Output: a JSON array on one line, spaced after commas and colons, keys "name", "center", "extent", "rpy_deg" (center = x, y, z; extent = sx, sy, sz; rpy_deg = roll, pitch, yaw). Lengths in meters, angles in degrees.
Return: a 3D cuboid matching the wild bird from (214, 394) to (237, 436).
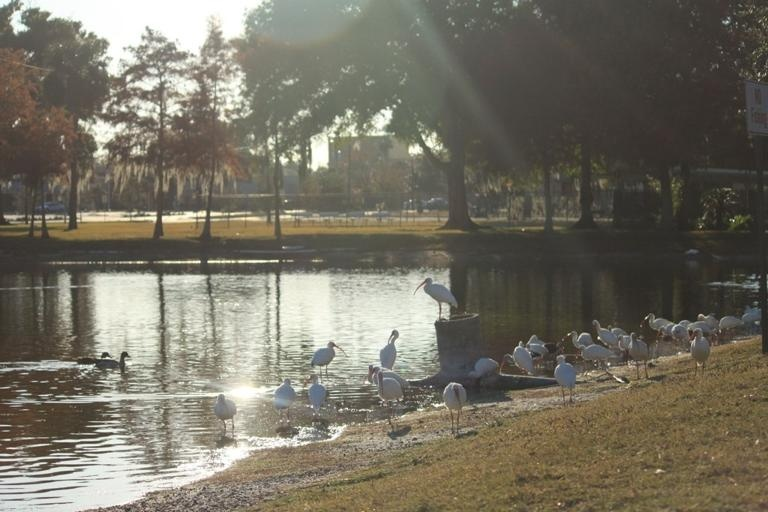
[{"name": "wild bird", "center": [-6.249, 6.244, 46.399], "extent": [0.830, 1.575, 0.890], "rpy_deg": [-2, -6, -3]}]
